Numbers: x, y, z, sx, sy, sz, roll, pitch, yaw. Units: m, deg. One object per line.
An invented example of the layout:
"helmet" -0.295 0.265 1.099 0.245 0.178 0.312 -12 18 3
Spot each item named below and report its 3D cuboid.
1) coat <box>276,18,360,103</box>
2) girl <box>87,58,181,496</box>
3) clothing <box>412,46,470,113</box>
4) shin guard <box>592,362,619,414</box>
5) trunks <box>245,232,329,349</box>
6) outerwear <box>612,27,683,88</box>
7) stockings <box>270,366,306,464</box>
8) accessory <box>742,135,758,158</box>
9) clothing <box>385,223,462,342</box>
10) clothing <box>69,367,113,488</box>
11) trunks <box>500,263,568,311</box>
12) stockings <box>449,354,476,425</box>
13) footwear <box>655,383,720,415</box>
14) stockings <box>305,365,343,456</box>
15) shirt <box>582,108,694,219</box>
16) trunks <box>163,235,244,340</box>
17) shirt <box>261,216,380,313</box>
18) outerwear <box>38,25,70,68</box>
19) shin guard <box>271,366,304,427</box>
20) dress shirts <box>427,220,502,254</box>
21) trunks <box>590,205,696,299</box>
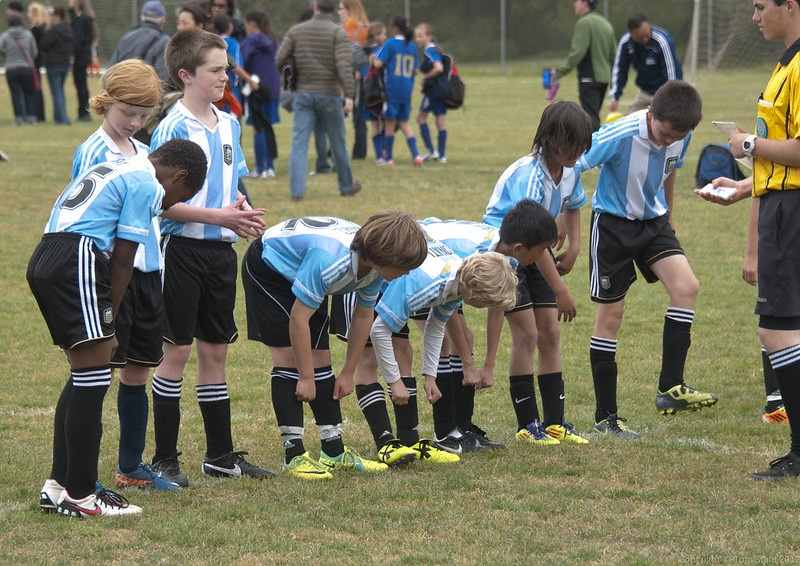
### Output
"coat" -0.933 -2.588 15.674 1.027 0.874 0.520 8 11 27
"girl" -1.894 -0.047 9.737 0.857 2.972 0.899 -8 -11 34
"clothing" 0.604 -2.705 18.263 0.537 0.678 0.518 -2 4 12
"shin guard" 1.608 0.804 10.760 0.187 0.430 0.260 1 10 8
"trunks" -0.819 0.057 10.096 0.651 0.997 0.737 -1 4 -7
"outerwear" 2.968 -2.596 16.218 0.949 0.774 0.568 12 28 41
"stockings" -0.824 0.978 10.105 0.244 0.763 0.208 5 -14 -40
"accessory" 2.509 -0.983 9.804 0.097 0.152 0.144 16 13 43
"clothing" 0.180 -0.038 10.019 0.593 0.788 0.493 -9 12 -40
"clothing" -2.130 0.967 9.301 0.335 0.876 0.176 -3 10 -12
"trunks" 1.016 0.035 10.610 0.531 0.503 0.301 -4 -1 -31
"stockings" 0.479 0.831 10.601 0.166 0.579 0.156 12 15 31
"footwear" 2.222 0.892 10.839 0.583 0.288 0.192 -6 -10 5
"stockings" -0.554 0.968 10.182 0.216 0.707 0.194 -10 13 -23
"shirt" 1.814 -0.919 10.706 0.900 0.838 0.377 -1 10 0
"trunks" -1.463 0.010 9.919 0.734 0.949 0.488 1 -2 -34
"shirt" -0.633 -0.231 9.946 0.782 0.428 0.592 27 20 37
"outerwear" -5.866 -3.951 23.151 0.495 0.775 0.677 12 16 37
"shin guard" -0.836 0.806 10.064 0.214 0.434 0.124 -1 10 -2
"dress shirts" 0.480 -0.366 10.338 0.371 0.127 0.292 25 28 19
"trunks" 1.852 -0.329 10.884 0.819 0.758 0.435 -15 17 -16
